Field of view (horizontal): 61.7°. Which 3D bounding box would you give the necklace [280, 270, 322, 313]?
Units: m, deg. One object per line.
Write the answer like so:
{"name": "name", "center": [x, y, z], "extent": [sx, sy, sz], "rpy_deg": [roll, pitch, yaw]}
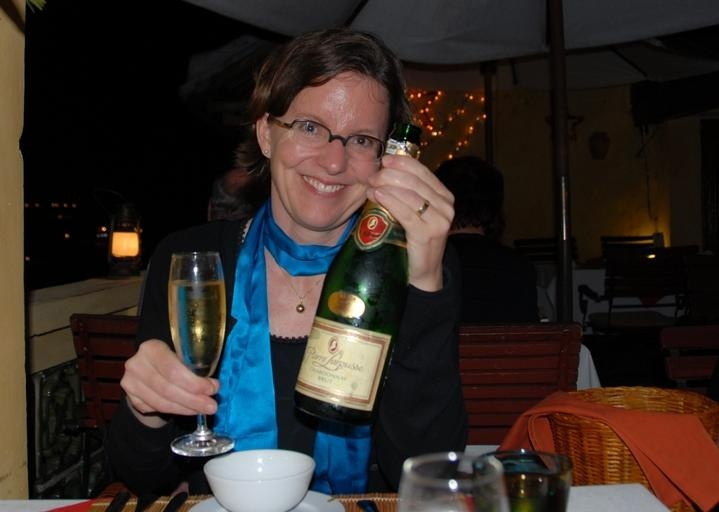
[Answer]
{"name": "necklace", "center": [-0.211, 0.135, 2.218], "extent": [0.157, 0.195, 0.045], "rpy_deg": [-1, -41, 3]}

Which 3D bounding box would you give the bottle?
{"name": "bottle", "center": [0.003, 0.047, 1.792], "extent": [0.314, 0.888, 0.363], "rpy_deg": [1, 1, 18]}

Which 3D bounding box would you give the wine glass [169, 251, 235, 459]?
{"name": "wine glass", "center": [-0.469, 0.304, 1.788], "extent": [0.183, 0.627, 0.265], "rpy_deg": [0, 1, -16]}

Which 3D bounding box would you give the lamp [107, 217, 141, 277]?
{"name": "lamp", "center": [-1.611, -0.097, 4.133], "extent": [0.221, 0.466, 0.170], "rpy_deg": [2, -1, -18]}

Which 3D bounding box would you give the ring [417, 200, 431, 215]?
{"name": "ring", "center": [0.189, -0.141, 1.778], "extent": [0.030, 0.041, 0.039], "rpy_deg": [36, -38, -22]}
